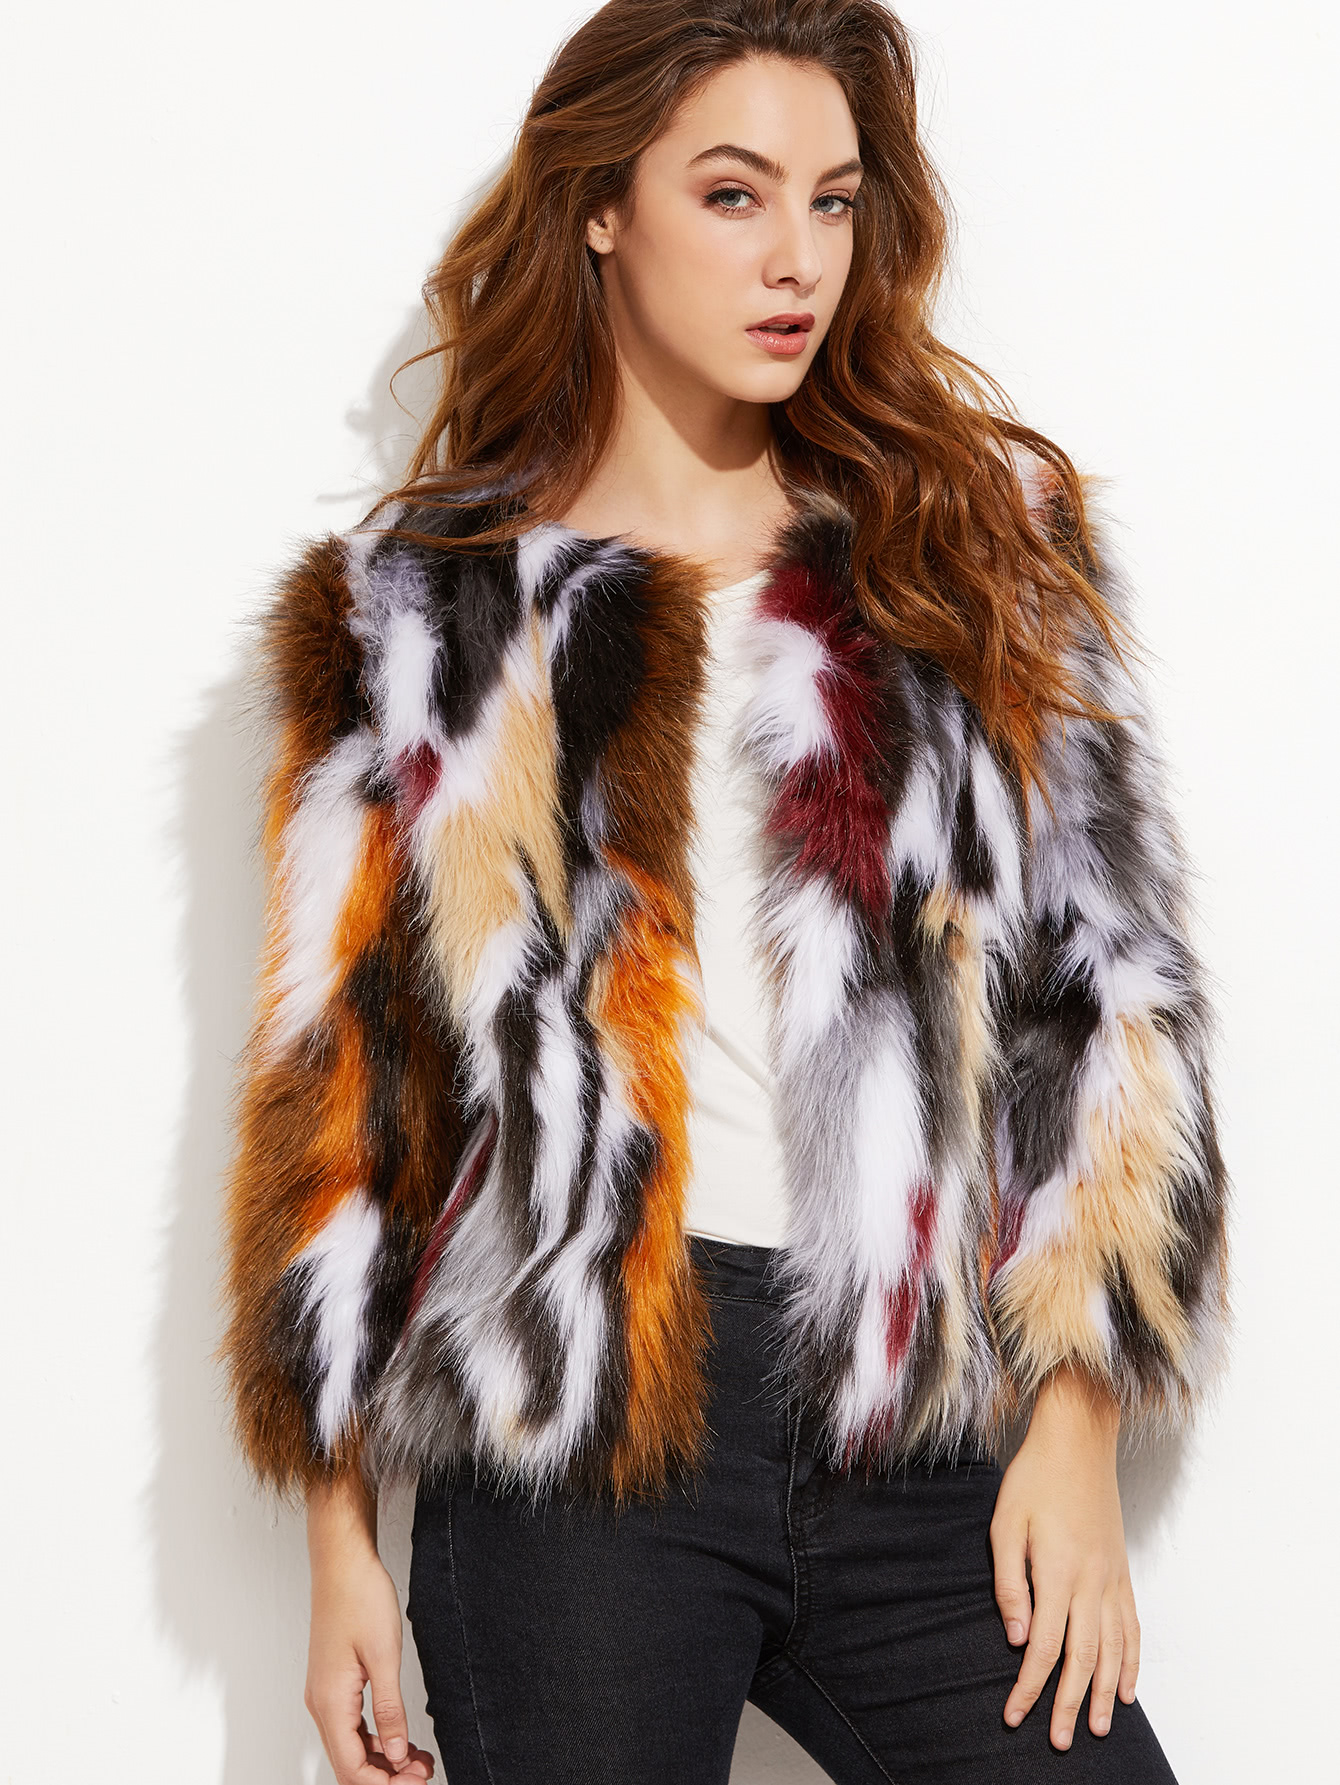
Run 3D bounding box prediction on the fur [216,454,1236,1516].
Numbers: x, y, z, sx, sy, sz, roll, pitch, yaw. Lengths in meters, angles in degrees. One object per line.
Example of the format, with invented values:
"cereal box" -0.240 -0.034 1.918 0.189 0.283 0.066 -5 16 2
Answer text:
"fur" 0.038 0.076 1.497 0.885 0.926 0.390 -1 -12 0
